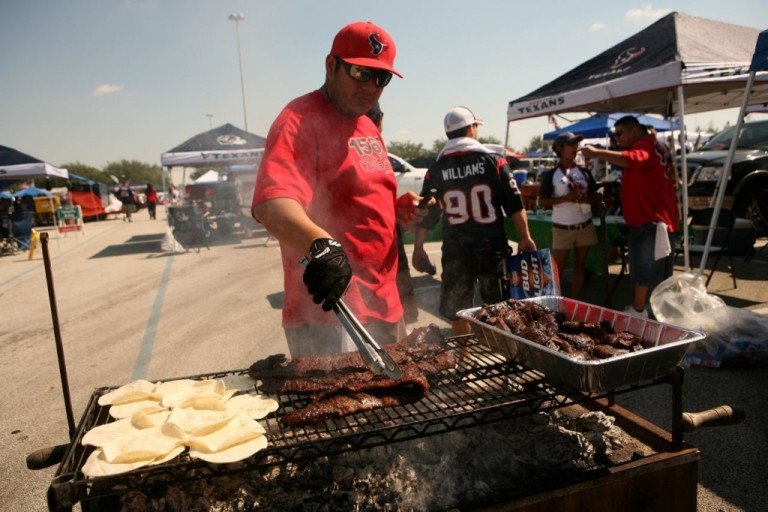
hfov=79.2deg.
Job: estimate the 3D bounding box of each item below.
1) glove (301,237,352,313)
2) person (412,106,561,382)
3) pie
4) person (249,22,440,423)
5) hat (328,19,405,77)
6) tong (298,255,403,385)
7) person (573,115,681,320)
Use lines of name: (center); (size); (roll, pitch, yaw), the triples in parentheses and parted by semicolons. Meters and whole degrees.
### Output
glove: (-0.306, 0.079, 2.498); (0.242, 0.379, 0.229); (-7, 17, -34)
person: (1.222, -0.254, 5.631); (1.343, 2.627, 0.967); (0, 1, 22)
pie: (-1.151, 0.923, 2.636); (1.052, 0.215, 0.663); (-4, 12, -4)
person: (-0.164, -0.281, 2.993); (1.098, 2.490, 1.073); (-4, 19, -36)
hat: (-0.138, -1.331, 2.999); (0.414, 0.326, 0.141); (-5, 14, -5)
tong: (-0.237, 0.381, 2.583); (0.297, 0.972, 0.107); (-40, -14, -16)
person: (3.150, -0.486, 5.791); (0.783, 2.415, 0.942); (9, 19, 43)
